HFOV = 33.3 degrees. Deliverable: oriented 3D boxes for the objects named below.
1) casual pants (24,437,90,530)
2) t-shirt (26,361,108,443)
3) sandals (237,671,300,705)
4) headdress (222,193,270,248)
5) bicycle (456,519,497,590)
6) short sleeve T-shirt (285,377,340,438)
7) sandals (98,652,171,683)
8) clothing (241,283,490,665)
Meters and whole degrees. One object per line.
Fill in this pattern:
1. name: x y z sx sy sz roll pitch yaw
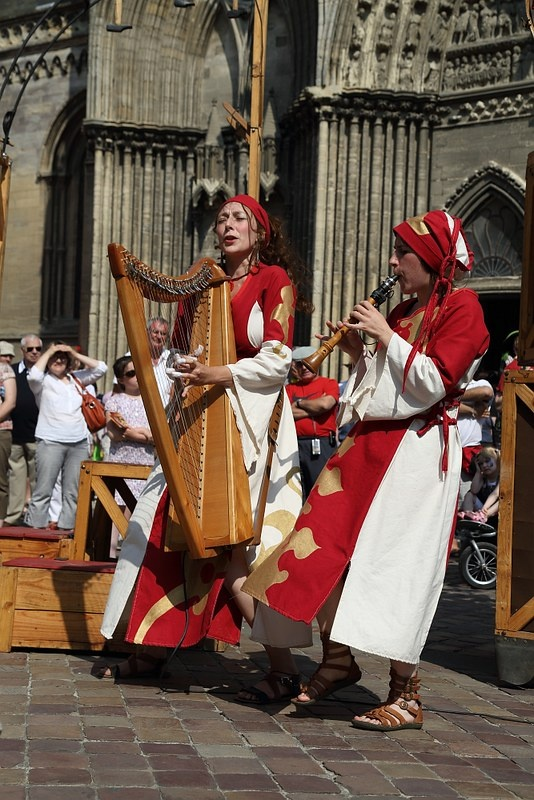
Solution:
1. casual pants: -1.956 0.741 8.476 0.509 0.991 0.320 10 5 -15
2. t-shirt: -1.951 0.016 8.538 0.794 0.820 0.497 6 -23 -26
3. sandals: 0.008 1.136 3.560 0.236 0.080 0.110 3 -5 -25
4. headdress: -0.052 -0.788 3.855 0.109 0.217 0.184 -47 31 -23
5. bicycle: 1.853 1.346 7.775 0.469 0.636 0.404 1 -9 20
6. short sleeve T-shirt: 0.337 0.065 6.440 0.488 0.479 0.285 -5 -12 13
7. sandals: -0.613 1.132 3.803 0.371 0.125 0.115 5 -1 -18
8. clothing: 0.457 0.184 3.374 0.558 1.589 0.686 16 -8 -37
